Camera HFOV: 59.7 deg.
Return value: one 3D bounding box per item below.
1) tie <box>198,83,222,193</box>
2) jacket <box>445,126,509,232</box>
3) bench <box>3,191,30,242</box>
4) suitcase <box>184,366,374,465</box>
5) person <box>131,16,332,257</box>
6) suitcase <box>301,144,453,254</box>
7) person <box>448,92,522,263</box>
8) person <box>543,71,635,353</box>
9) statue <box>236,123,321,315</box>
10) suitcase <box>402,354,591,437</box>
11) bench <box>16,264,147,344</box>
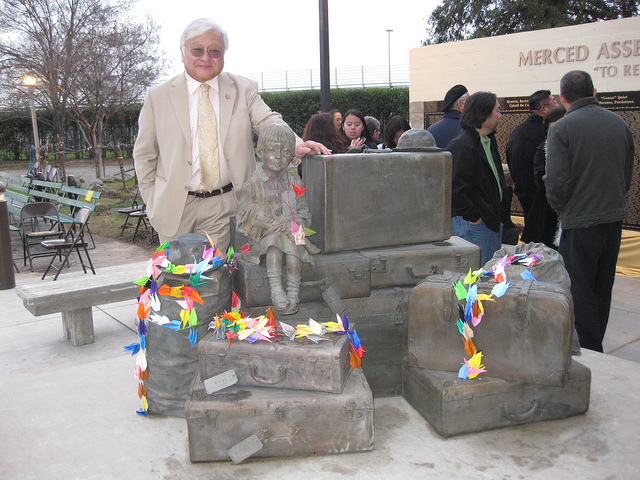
[{"bbox_3d":[-0.922,-0.845,4.628,0.174,0.876,0.135,-3,10,-13],"label":"tie"},{"bbox_3d":[1.580,-0.592,5.681,0.593,1.217,0.883,6,19,36],"label":"jacket"},{"bbox_3d":[-5.929,-0.472,10.953,0.340,0.631,1.033,-6,15,-43],"label":"bench"},{"bbox_3d":[-0.272,1.254,3.879,1.260,0.475,0.316,-2,10,-5],"label":"suitcase"},{"bbox_3d":[-0.984,-0.827,4.684,1.095,1.909,0.450,-5,11,-20],"label":"person"},{"bbox_3d":[0.556,-0.334,4.729,1.025,0.796,0.578,-3,1,-15],"label":"suitcase"},{"bbox_3d":[1.656,-0.631,5.822,0.792,1.766,0.425,-8,12,-34],"label":"person"},{"bbox_3d":[2.620,-0.329,5.567,0.734,2.688,0.871,6,12,34],"label":"person"},{"bbox_3d":[-0.299,-0.171,4.329,0.551,1.426,0.530,8,14,41],"label":"statue"},{"bbox_3d":[1.357,1.171,4.574,1.250,0.391,1.262,-5,0,-16],"label":"suitcase"},{"bbox_3d":[-2.604,0.767,6.209,1.262,0.660,0.710,-9,13,-35],"label":"bench"}]
